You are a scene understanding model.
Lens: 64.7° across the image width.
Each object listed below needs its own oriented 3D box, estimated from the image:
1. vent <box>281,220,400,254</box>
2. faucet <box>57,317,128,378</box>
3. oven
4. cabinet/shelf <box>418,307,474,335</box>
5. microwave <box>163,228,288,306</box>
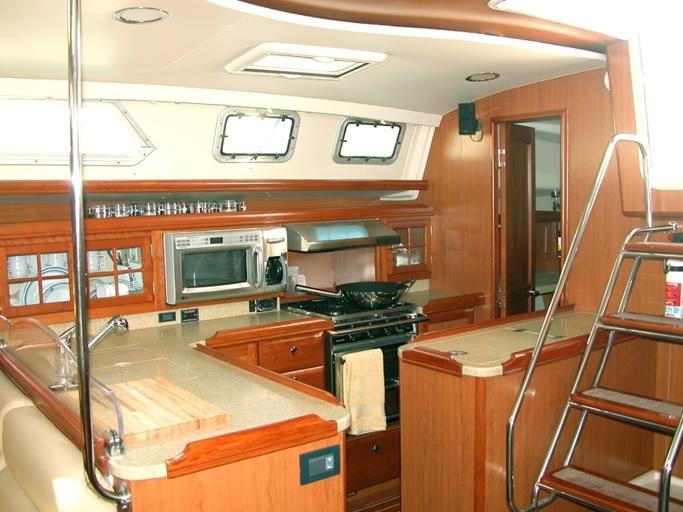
[{"bbox_3d":[0.026,-0.164,4.242,0.912,0.253,0.245,-1,6,-38],"label":"vent"},{"bbox_3d":[-1.071,0.378,2.333,0.259,0.235,0.546,1,5,-24],"label":"faucet"},{"bbox_3d":[0.185,0.798,3.988,0.830,0.639,0.400,-4,-3,-40],"label":"oven"},{"bbox_3d":[0.849,0.478,4.420,0.362,0.263,0.227,-4,5,-36],"label":"cabinet/shelf"},{"bbox_3d":[-0.794,0.062,3.708,0.999,0.505,0.567,-4,5,-37],"label":"microwave"}]
